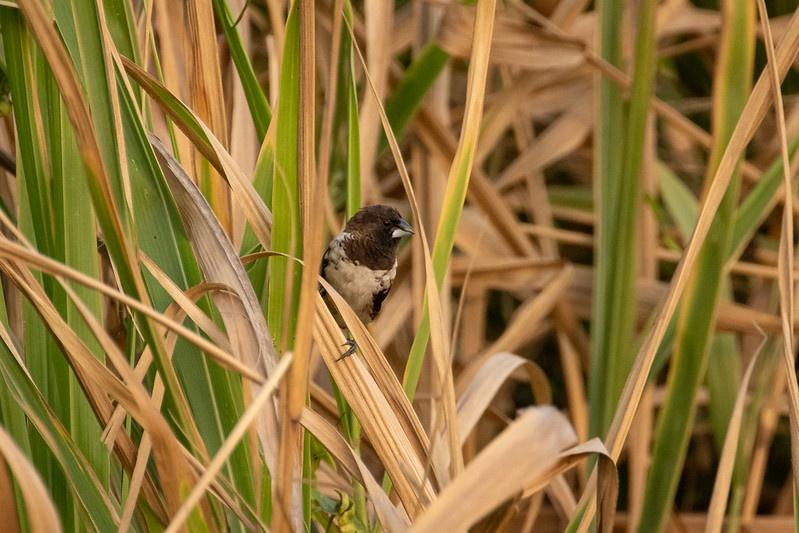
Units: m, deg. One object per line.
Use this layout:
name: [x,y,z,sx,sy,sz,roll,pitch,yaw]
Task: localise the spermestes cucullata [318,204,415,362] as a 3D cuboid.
spermestes cucullata: [-0.116,-0.006,3.809,0.289,0.397,0.196,10,-13,-13]
